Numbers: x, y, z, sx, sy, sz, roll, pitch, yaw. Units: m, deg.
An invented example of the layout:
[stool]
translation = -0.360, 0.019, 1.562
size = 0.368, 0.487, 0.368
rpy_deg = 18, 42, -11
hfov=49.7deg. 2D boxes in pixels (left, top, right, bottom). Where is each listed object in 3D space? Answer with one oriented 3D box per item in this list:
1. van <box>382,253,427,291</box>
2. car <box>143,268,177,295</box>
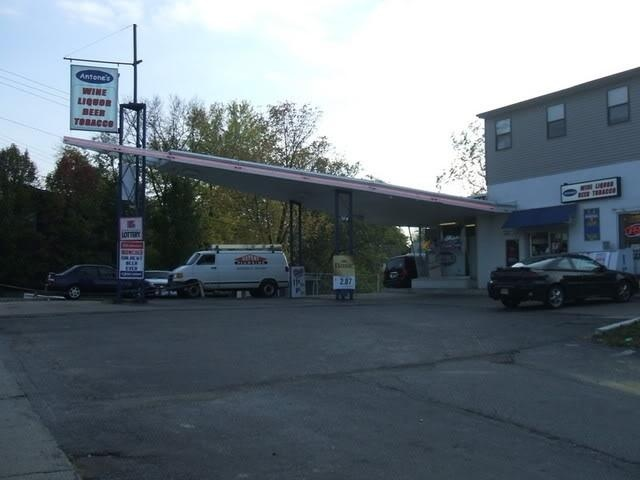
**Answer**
[van]
translation = 4.313, 1.490, 34.687
size = 2.245, 1.201, 1.247
rpy_deg = -4, 1, -44
[car]
translation = -7.596, 2.050, 32.477
size = 1.194, 1.026, 2.047
rpy_deg = 1, 3, 0
